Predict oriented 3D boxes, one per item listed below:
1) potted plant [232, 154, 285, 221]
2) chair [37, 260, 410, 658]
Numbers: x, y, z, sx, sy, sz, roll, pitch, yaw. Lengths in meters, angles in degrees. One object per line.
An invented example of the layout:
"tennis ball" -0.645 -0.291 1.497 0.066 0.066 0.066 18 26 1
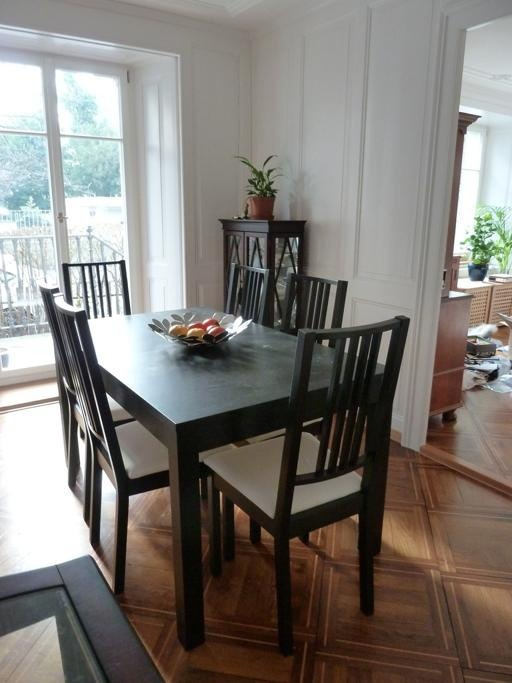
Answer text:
"potted plant" 0.037 -0.988 3.241 0.271 0.419 0.311 -10 9 -21
"chair" -0.034 0.251 1.525 0.984 0.697 0.990 -9 19 -28
